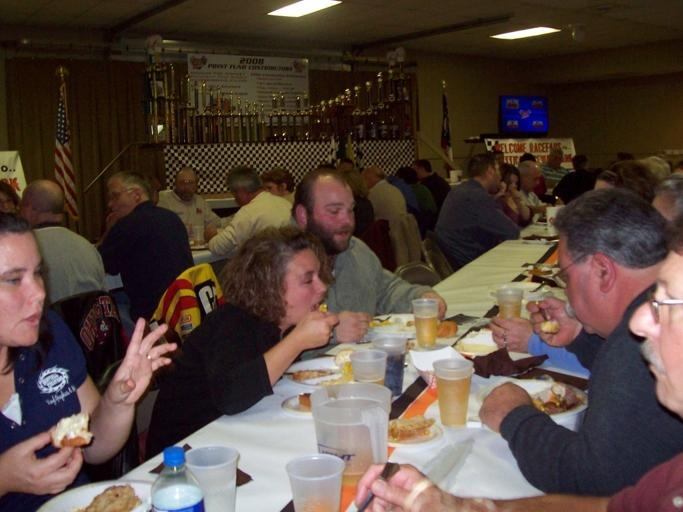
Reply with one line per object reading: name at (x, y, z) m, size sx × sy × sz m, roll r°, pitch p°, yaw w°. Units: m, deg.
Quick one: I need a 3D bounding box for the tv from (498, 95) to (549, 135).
tv at (4.840, -3.706, 13.467) m, size 1.547 × 0.990 × 0.161 m, roll -5°, pitch 5°, yaw -21°

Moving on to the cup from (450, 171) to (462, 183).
cup at (2.218, -1.513, 9.827) m, size 0.253 × 0.298 × 0.267 m, roll -3°, pitch 9°, yaw 0°

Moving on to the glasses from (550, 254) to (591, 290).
glasses at (0.767, 0.062, 1.696) m, size 0.127 × 0.040 × 0.134 m, roll -9°, pitch 45°, yaw -8°

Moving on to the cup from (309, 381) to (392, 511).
cup at (0.006, 0.428, 1.184) m, size 0.154 × 0.249 × 0.241 m, roll -1°, pitch 6°, yaw -12°

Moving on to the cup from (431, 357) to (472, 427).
cup at (0.316, 0.385, 1.412) m, size 0.124 × 0.174 × 0.124 m, roll -2°, pitch -2°, yaw 0°

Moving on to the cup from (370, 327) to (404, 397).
cup at (0.131, 0.363, 1.639) m, size 0.134 × 0.204 × 0.141 m, roll -1°, pitch -2°, yaw 0°

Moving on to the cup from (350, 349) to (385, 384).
cup at (0.078, 0.318, 1.474) m, size 0.088 × 0.103 × 0.092 m, roll 0°, pitch 4°, yaw 0°

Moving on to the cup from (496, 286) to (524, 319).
cup at (0.729, 0.204, 2.184) m, size 0.112 × 0.141 × 0.119 m, roll 1°, pitch 2°, yaw 0°
